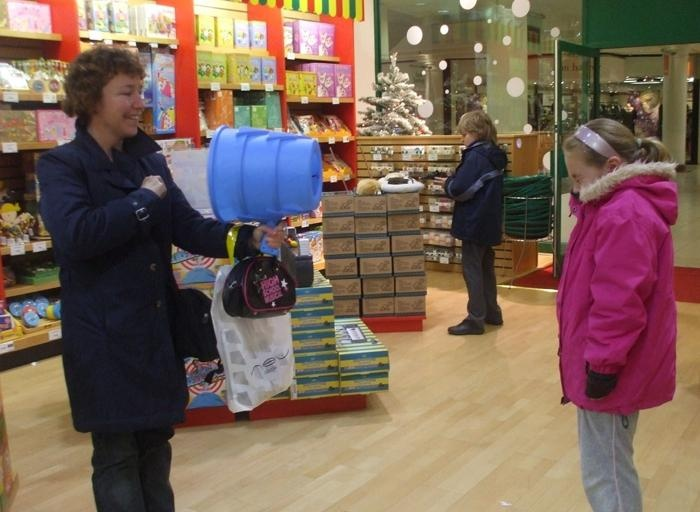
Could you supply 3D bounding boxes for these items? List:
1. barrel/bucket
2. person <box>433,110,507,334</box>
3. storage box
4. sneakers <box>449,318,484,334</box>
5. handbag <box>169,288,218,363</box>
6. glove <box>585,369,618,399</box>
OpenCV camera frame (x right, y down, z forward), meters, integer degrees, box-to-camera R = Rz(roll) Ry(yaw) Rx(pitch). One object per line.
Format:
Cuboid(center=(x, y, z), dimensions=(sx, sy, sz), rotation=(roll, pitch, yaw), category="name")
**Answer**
Cuboid(center=(-0.271, -0.247, 2.023), dimensions=(0.367, 0.335, 0.433), rotation=(-2, -14, 11), category="barrel/bucket")
Cuboid(center=(1.187, -0.302, 5.047), dimensions=(0.582, 2.061, 0.445), rotation=(-2, 13, 1), category="person")
Cuboid(center=(0.062, 0.288, 4.071), dimensions=(1.712, 1.442, 0.575), rotation=(-1, -2, -14), category="storage box")
Cuboid(center=(1.120, 0.666, 5.131), dimensions=(0.301, 0.120, 0.146), rotation=(1, 0, 5), category="sneakers")
Cuboid(center=(-0.564, 0.254, 2.005), dimensions=(0.207, 0.249, 0.084), rotation=(5, -10, -28), category="handbag")
Cuboid(center=(0.899, 0.461, 1.941), dimensions=(0.094, 0.105, 0.110), rotation=(2, -8, 13), category="glove")
